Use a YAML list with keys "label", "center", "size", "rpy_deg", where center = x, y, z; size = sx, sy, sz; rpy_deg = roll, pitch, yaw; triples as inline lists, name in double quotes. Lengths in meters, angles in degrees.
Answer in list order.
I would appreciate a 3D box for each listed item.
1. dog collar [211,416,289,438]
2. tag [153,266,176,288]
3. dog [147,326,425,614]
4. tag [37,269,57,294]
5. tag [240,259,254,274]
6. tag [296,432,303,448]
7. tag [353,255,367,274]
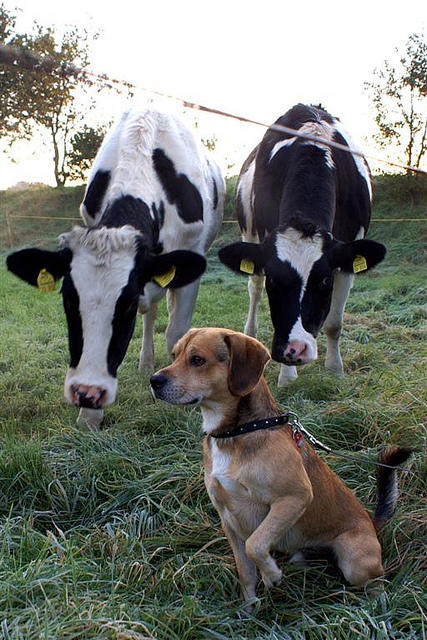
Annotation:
- label: "dog collar"
  center: [0.190, 0.480, 2.487]
  size: [0.188, 0.029, 0.137]
  rpy_deg: [-19, -2, 9]
- label: "tag"
  center: [-0.364, -0.324, 4.185]
  size: [0.135, 0.166, 0.060]
  rpy_deg: [4, 43, -19]
- label: "dog"
  center: [0.244, 0.657, 2.492]
  size: [1.130, 1.127, 0.647]
  rpy_deg: [5, 10, -7]
- label: "tag"
  center: [-1.229, -0.289, 4.043]
  size: [0.141, 0.189, 0.139]
  rpy_deg: [6, 10, -2]
- label: "tag"
  center: [0.304, -0.501, 4.989]
  size: [0.108, 0.106, 0.014]
  rpy_deg: [20, 0, -3]
- label: "tag"
  center: [0.413, 0.563, 2.582]
  size: [0.049, 0.061, 0.023]
  rpy_deg: [-11, 6, -43]
- label: "tag"
  center: [1.280, -0.501, 4.774]
  size: [0.142, 0.147, 0.017]
  rpy_deg: [-13, 17, -27]
